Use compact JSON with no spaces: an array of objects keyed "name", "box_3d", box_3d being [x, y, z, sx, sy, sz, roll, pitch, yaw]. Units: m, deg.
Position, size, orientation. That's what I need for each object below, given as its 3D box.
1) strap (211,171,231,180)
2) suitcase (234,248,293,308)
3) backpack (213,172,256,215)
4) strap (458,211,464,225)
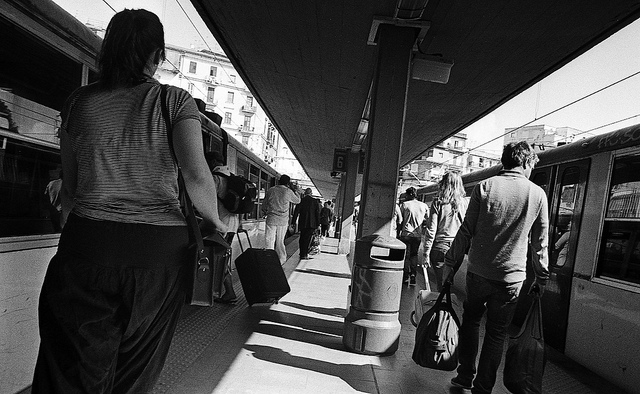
[{"name":"strap","box_3d":[-1.259,-0.293,5.372,0.231,0.094,0.252,15,-9,-32]},{"name":"suitcase","box_3d":[-1.000,1.392,7.054,0.837,1.167,0.632,-7,-26,-35]},{"name":"backpack","box_3d":[-0.958,-0.061,4.584,0.532,0.454,0.366,12,5,26]},{"name":"strap","box_3d":[2.302,0.311,6.832,0.097,0.178,0.025,4,2,-38]}]
